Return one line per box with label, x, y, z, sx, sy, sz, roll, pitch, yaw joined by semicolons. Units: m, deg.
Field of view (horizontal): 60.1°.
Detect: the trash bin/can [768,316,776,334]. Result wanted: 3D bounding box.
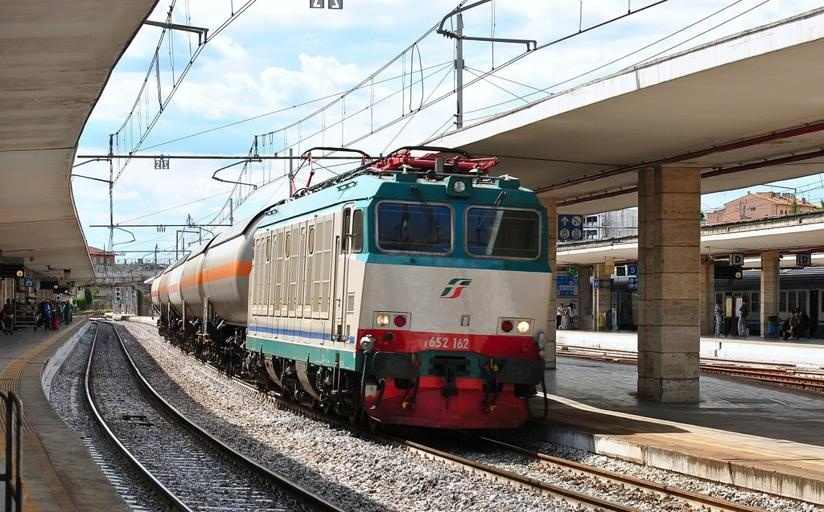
trash bin/can;24.303;4.673;48.038;0.599;1.367;0.558;-1;-3;7
